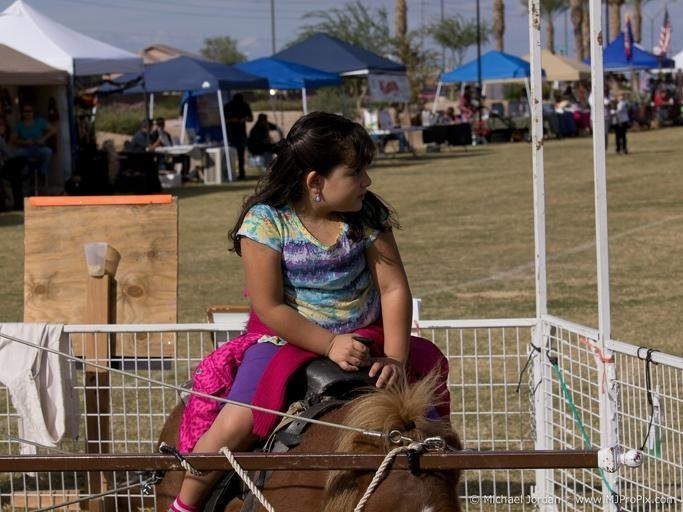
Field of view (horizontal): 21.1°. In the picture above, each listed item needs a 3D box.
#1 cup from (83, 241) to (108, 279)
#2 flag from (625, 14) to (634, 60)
[{"bbox_3d":[-2.158,0.012,16.107,0.250,0.372,0.249,0,-2,0],"label":"cup"},{"bbox_3d":[2.509,-1.928,16.072,0.069,0.397,0.341,-2,6,9],"label":"flag"}]
